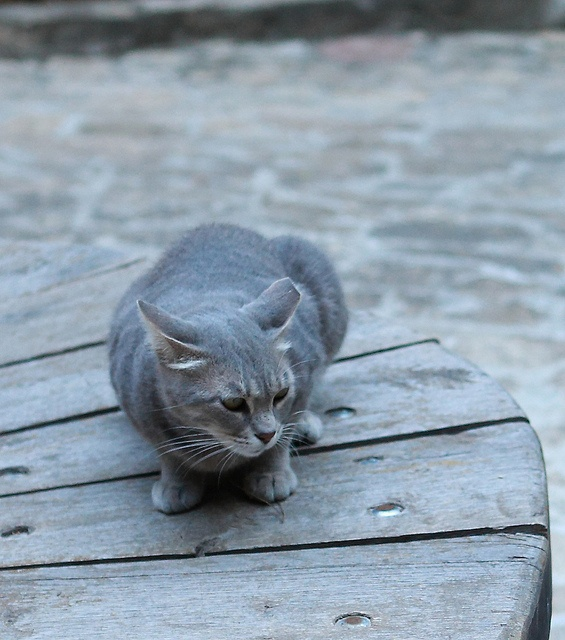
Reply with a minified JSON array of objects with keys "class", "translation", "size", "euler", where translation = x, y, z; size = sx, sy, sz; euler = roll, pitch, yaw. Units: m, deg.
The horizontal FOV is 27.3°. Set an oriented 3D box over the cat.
[{"class":"cat","translation":[-0.101,0.173,3.040],"size":[0.776,0.481,1.104],"euler":[1,11,-1]}]
